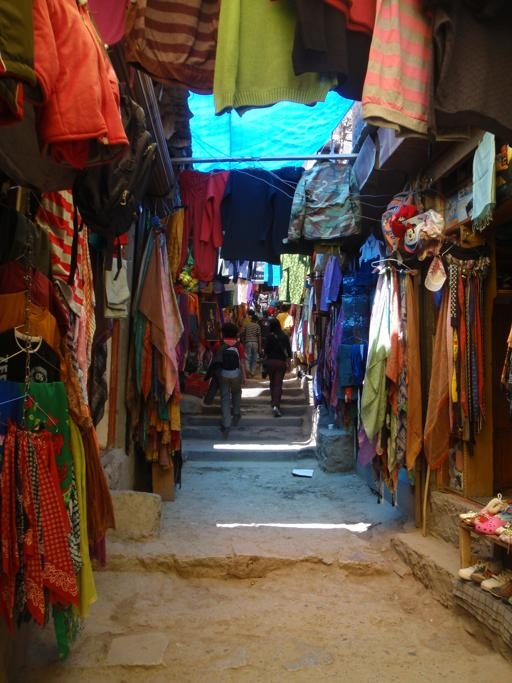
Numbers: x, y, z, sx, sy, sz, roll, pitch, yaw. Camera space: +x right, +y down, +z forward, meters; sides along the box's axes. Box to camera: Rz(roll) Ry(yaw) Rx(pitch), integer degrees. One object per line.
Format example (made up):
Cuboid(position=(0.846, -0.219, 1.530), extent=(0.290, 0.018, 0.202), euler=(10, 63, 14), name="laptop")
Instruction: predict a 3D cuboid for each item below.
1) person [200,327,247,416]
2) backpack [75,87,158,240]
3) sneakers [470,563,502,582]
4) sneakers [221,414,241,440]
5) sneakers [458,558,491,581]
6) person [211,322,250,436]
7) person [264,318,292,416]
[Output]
Cuboid(position=(-0.418, 0.422, 8.501), extent=(0.412, 1.293, 0.403), euler=(7, -31, -8), name="person")
Cuboid(position=(-0.581, -0.852, 2.655), extent=(0.229, 0.566, 0.372), euler=(18, 17, 8), name="backpack")
Cuboid(position=(1.264, 1.275, 3.153), extent=(0.208, 0.110, 0.073), euler=(12, -19, -35), name="sneakers")
Cuboid(position=(-0.390, 1.268, 8.675), extent=(0.135, 0.231, 0.472), euler=(1, 11, 5), name="sneakers")
Cuboid(position=(1.229, 1.282, 3.199), extent=(0.186, 0.096, 0.078), euler=(-3, -25, 28), name="sneakers")
Cuboid(position=(-0.435, 0.573, 8.717), extent=(0.426, 1.592, 0.838), euler=(1, 0, -4), name="person")
Cuboid(position=(0.346, 0.417, 9.736), extent=(0.443, 1.585, 0.883), euler=(1, 0, 3), name="person")
